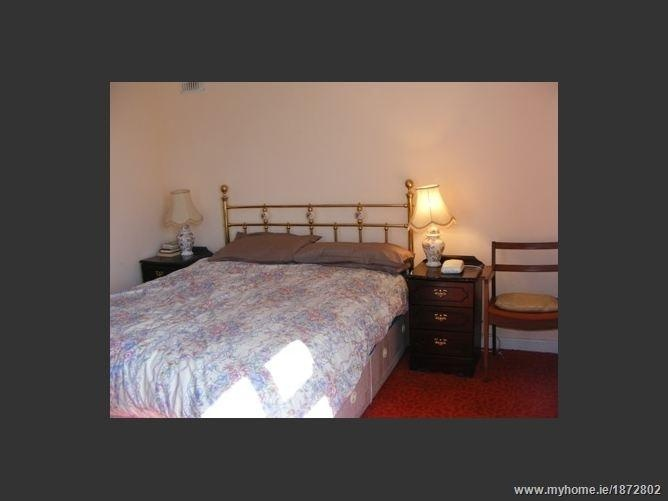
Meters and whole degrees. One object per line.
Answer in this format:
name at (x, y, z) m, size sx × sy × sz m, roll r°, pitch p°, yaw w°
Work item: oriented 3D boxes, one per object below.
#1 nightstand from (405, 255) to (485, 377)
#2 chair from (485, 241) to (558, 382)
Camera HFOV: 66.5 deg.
nightstand at (0.687, 0.490, 3.333) m, size 0.449 × 0.658 × 0.418 m, roll 4°, pitch -22°, yaw 3°
chair at (1.213, 0.340, 3.237) m, size 0.608 × 0.725 × 0.593 m, roll -3°, pitch 7°, yaw -4°
